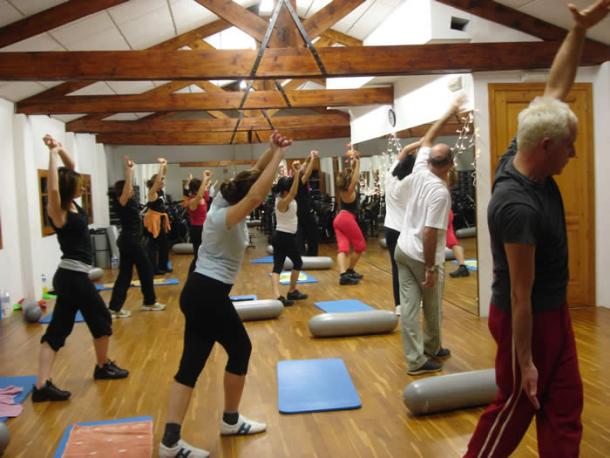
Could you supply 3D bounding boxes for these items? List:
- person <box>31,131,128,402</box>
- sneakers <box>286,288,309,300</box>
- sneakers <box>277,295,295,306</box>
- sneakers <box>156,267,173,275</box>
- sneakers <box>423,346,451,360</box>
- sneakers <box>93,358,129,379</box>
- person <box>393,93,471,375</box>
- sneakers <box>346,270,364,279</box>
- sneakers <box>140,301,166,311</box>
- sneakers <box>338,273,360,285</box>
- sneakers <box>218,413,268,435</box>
[{"bbox_3d":[-1.985,0.326,3.774,0.709,2.171,0.371,-3,6,-34],"label":"person"},{"bbox_3d":[-0.119,0.950,6.457,0.259,0.132,0.143,-3,0,-7],"label":"sneakers"},{"bbox_3d":[-0.263,1.013,6.207,0.269,0.127,0.100,7,4,-5],"label":"sneakers"},{"bbox_3d":[-2.916,0.877,9.071,0.294,0.133,0.096,-5,5,-17],"label":"sneakers"},{"bbox_3d":[1.250,1.162,4.164,0.283,0.134,0.107,-4,8,-15],"label":"sneakers"},{"bbox_3d":[-1.786,1.291,4.090,0.352,0.173,0.141,1,2,-10],"label":"sneakers"},{"bbox_3d":[1.008,0.156,3.724,0.483,2.272,0.806,1,5,14],"label":"person"},{"bbox_3d":[0.876,0.790,7.714,0.371,0.174,0.139,10,7,1],"label":"sneakers"},{"bbox_3d":[-2.215,1.092,6.355,0.316,0.152,0.138,-1,3,-19],"label":"sneakers"},{"bbox_3d":[0.760,0.847,7.457,0.340,0.211,0.154,0,6,-11],"label":"sneakers"},{"bbox_3d":[-0.438,1.393,3.158,0.358,0.150,0.131,1,-5,-9],"label":"sneakers"}]
